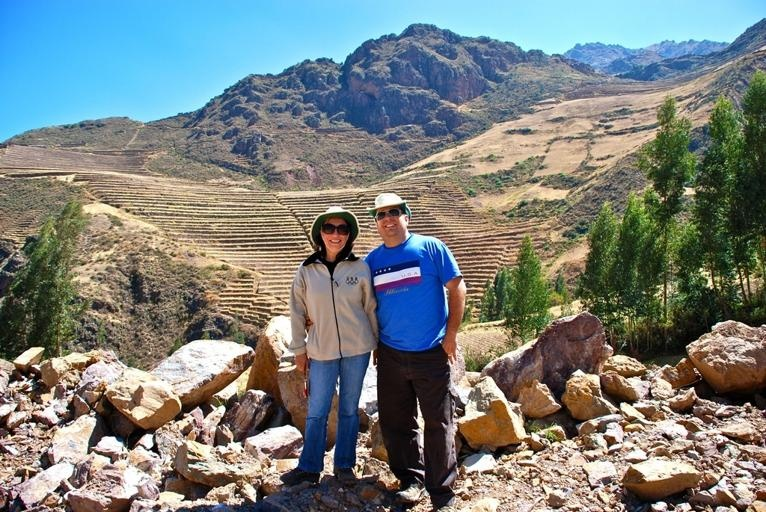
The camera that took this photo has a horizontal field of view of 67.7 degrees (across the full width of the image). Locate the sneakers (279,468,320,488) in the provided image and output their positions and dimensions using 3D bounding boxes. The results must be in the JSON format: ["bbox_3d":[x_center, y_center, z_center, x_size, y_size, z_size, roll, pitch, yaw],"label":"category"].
[{"bbox_3d":[-1.268,3.384,8.800,0.551,0.273,0.242,10,-12,-7],"label":"sneakers"}]

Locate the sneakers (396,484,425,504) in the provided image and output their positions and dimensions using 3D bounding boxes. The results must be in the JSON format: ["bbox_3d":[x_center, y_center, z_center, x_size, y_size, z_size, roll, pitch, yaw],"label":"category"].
[{"bbox_3d":[0.412,3.615,8.732,0.186,0.214,0.486,-22,-30,28],"label":"sneakers"}]
